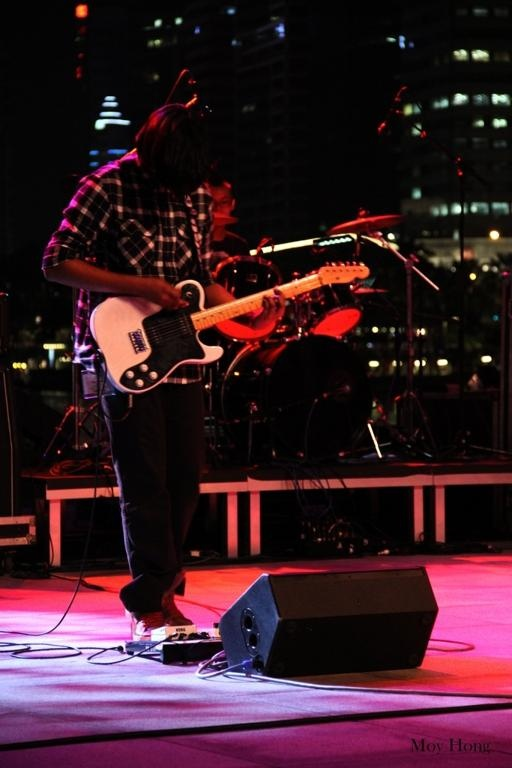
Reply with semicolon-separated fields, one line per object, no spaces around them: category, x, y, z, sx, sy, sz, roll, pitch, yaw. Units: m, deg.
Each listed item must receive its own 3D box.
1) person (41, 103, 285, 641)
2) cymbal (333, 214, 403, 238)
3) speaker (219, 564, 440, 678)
person;-0.324;-0.077;2.677;0.444;1.444;0.509;2;5;12
cymbal;0.634;-0.878;5.458;0.418;0.118;0.288;0;3;-19
speaker;0.156;0.526;2.214;0.414;0.195;0.264;5;-11;-31
